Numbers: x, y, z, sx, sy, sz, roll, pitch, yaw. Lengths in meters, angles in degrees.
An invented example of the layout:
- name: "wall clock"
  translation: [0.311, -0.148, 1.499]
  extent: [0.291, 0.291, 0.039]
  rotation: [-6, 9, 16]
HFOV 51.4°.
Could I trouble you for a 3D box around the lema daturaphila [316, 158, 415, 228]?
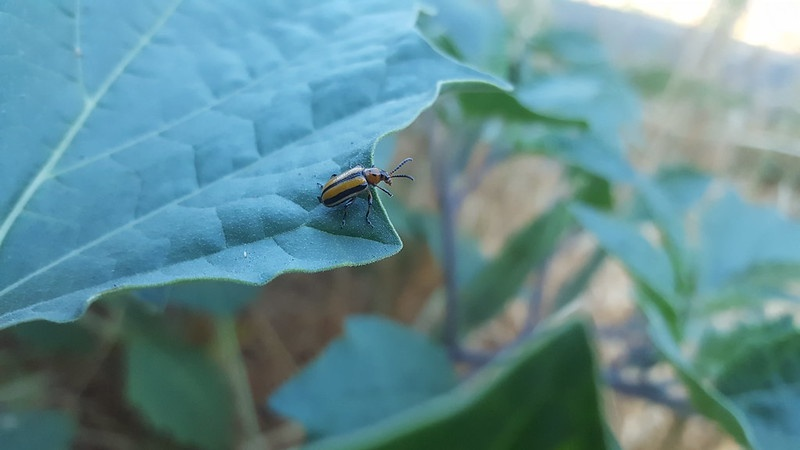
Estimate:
- name: "lema daturaphila"
  translation: [-0.049, -0.070, 1.238]
  extent: [0.133, 0.048, 0.108]
  rotation: [-2, -14, 37]
